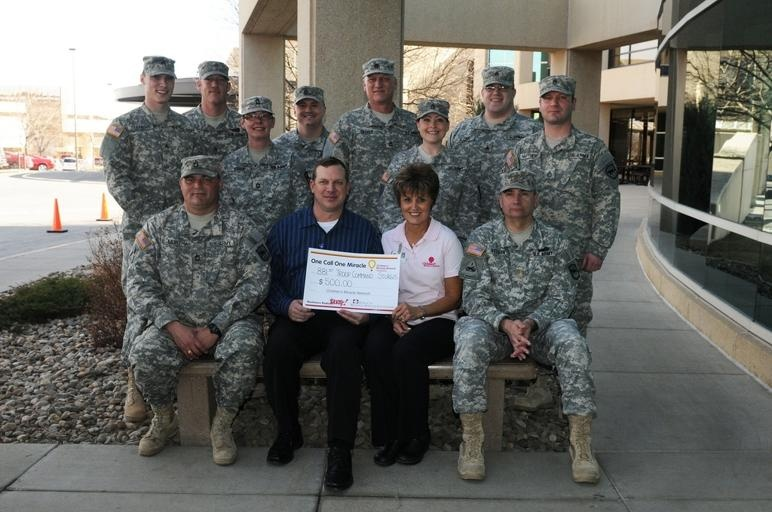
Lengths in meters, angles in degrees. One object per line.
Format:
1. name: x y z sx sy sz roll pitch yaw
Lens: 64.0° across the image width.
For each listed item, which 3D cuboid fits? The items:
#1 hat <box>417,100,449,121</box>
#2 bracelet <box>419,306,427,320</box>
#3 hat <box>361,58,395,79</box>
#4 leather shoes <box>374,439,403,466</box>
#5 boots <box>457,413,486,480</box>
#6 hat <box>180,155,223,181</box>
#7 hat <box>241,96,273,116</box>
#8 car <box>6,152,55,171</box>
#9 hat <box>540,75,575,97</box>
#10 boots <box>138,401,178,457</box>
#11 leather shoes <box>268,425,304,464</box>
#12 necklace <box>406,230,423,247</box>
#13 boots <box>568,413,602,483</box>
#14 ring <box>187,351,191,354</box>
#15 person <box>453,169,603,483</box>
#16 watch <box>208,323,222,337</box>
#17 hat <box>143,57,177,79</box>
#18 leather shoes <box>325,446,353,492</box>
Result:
1. hat: 0.462 -1.389 5.927 0.371 0.141 0.475 0 6 6
2. bracelet: 0.318 0.479 5.268 0.069 0.082 0.099 4 -6 1
3. hat: -0.057 -1.977 6.524 0.306 0.185 0.162 -3 14 -5
4. leather shoes: 0.040 1.622 5.124 0.124 0.112 0.291 -1 -3 29
5. boots: 0.713 1.508 4.970 0.225 0.391 0.599 2 8 7
6. hat: -1.592 -0.758 5.319 0.313 0.191 0.208 -3 14 -5
7. hat: -1.336 -1.559 6.463 0.293 0.177 0.438 -3 13 -6
8. car: -36.689 -9.770 63.860 3.504 1.723 7.560 -13 17 -42
9. hat: 1.691 -1.654 6.020 0.285 0.199 0.377 6 15 29
10. boots: -1.928 1.449 5.226 0.139 0.369 0.340 4 15 24
11. leather shoes: -0.824 1.545 5.088 0.316 0.251 0.193 -6 14 -18
12. necklace: 0.257 -0.164 5.489 0.132 0.154 0.062 2 -8 15
13. boots: 1.572 1.497 4.853 0.228 0.483 0.260 1 14 10
14. ring: -1.621 0.790 5.107 0.026 0.026 0.016 -11 -11 -10
15. person: 1.131 0.510 5.102 1.111 2.319 1.160 0 14 6
16. watch: -1.417 0.617 5.247 0.103 0.056 0.115 25 -19 29
17. hat: -2.341 -1.950 6.382 0.331 0.218 0.366 -6 14 -19
18. leather shoes: -0.362 1.630 4.695 0.156 0.138 0.372 1 -3 -1
